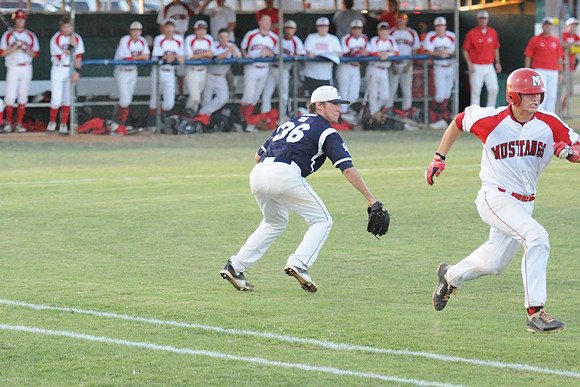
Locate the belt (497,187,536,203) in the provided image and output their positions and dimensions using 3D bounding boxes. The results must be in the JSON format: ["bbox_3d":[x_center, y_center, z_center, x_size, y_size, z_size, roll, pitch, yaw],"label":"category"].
[{"bbox_3d":[2.210,0.019,9.864,0.231,0.060,0.196,20,-1,19],"label":"belt"}]

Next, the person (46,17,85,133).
[{"bbox_3d":[-4.024,-2.106,18.297,0.530,2.042,0.887,-2,3,-31],"label":"person"}]

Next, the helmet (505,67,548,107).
[{"bbox_3d":[2.297,-1.049,9.908,0.404,0.291,0.405,-7,14,-8],"label":"helmet"}]

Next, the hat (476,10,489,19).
[{"bbox_3d":[3.786,-3.464,19.939,0.236,0.165,0.297,1,-2,17],"label":"hat"}]

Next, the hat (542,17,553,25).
[{"bbox_3d":[5.004,-3.328,19.741,0.192,0.145,0.188,0,3,14],"label":"hat"}]

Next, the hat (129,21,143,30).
[{"bbox_3d":[-2.765,-3.052,18.416,0.260,0.116,0.323,1,2,-14],"label":"hat"}]

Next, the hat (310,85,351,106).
[{"bbox_3d":[0.414,-1.020,10.548,0.362,0.142,0.200,-1,5,11],"label":"hat"}]

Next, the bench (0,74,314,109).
[{"bbox_3d":[-2.592,-1.864,18.635,5.989,0.693,1.033,-1,-6,-9],"label":"bench"}]

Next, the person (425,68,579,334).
[{"bbox_3d":[2.091,0.209,9.811,1.402,2.117,0.689,0,3,7],"label":"person"}]

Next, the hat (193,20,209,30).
[{"bbox_3d":[-1.615,-3.061,18.558,0.194,0.156,0.236,0,3,9],"label":"hat"}]

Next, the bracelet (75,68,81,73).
[{"bbox_3d":[-3.743,-2.176,18.053,0.116,0.095,0.096,-1,-5,1],"label":"bracelet"}]

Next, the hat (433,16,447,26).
[{"bbox_3d":[2.909,-3.326,19.658,0.249,0.124,0.312,1,3,8],"label":"hat"}]

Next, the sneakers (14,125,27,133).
[{"bbox_3d":[-4.812,-1.157,18.302,0.112,0.081,0.244,22,-13,-38],"label":"sneakers"}]

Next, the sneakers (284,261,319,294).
[{"bbox_3d":[0.124,0.848,10.326,0.329,0.291,0.251,-1,3,1],"label":"sneakers"}]

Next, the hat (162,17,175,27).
[{"bbox_3d":[-2.191,-3.117,18.626,0.326,0.104,0.391,-2,6,-11],"label":"hat"}]

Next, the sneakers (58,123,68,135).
[{"bbox_3d":[-4.085,-1.172,18.459,0.218,0.191,0.520,0,7,-15],"label":"sneakers"}]

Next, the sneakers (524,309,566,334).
[{"bbox_3d":[2.406,1.188,9.573,0.203,0.209,0.437,-13,6,-29],"label":"sneakers"}]

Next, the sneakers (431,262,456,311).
[{"bbox_3d":[1.507,0.898,10.043,0.245,0.450,0.179,6,3,28],"label":"sneakers"}]
